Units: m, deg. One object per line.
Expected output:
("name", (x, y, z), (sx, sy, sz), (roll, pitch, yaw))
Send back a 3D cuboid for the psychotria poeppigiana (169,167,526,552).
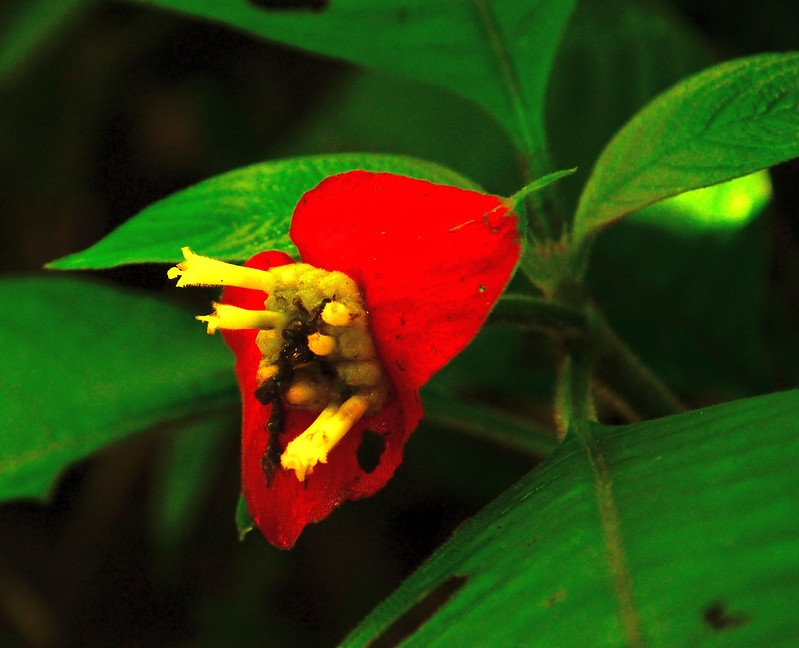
("psychotria poeppigiana", (-0.064, 0.031, 0.996), (0.386, 0.404, 0.128), (1, -17, 12))
